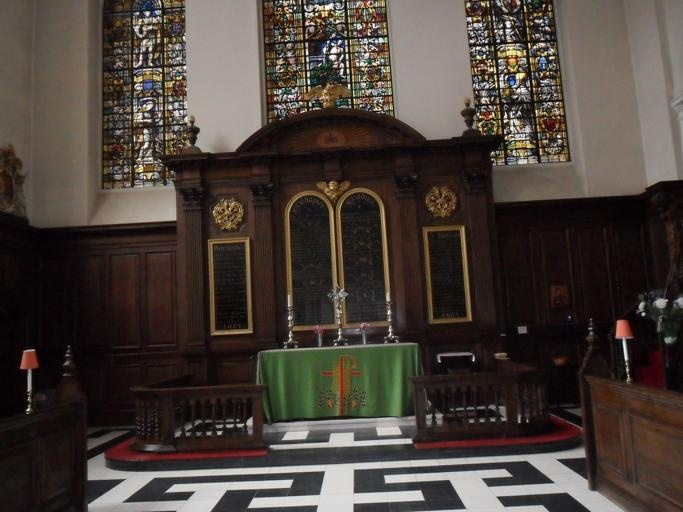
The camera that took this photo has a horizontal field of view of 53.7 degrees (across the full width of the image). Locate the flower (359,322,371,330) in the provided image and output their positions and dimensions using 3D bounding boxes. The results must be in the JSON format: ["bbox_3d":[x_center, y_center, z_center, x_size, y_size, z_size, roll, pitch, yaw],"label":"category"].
[{"bbox_3d":[0.403,1.241,12.063,0.164,0.089,0.190,-3,-3,3],"label":"flower"}]

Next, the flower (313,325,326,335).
[{"bbox_3d":[-0.409,1.267,11.766,0.156,0.170,0.162,0,-1,27],"label":"flower"}]
